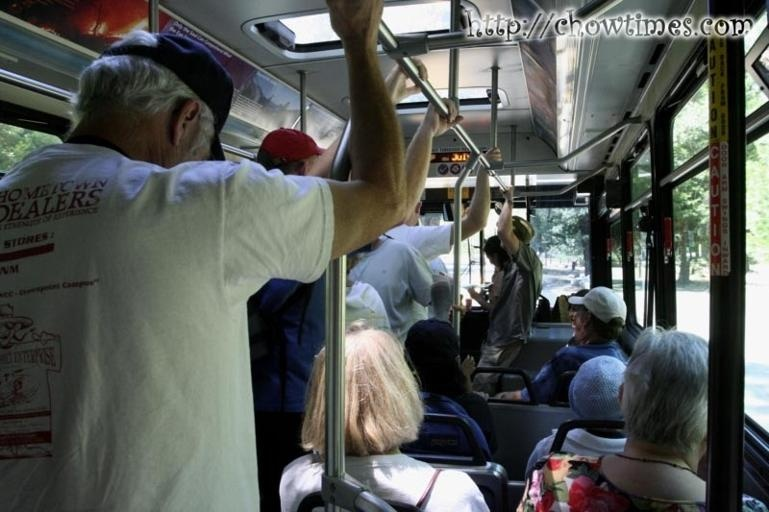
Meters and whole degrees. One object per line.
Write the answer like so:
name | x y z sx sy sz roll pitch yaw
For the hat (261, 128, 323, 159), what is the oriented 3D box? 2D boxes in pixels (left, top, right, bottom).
hat | -0.398 -0.480 2.662 0.137 0.083 0.201 17 18 35

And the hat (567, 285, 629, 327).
hat | 1.442 0.310 4.108 0.245 0.201 0.358 9 20 -45
